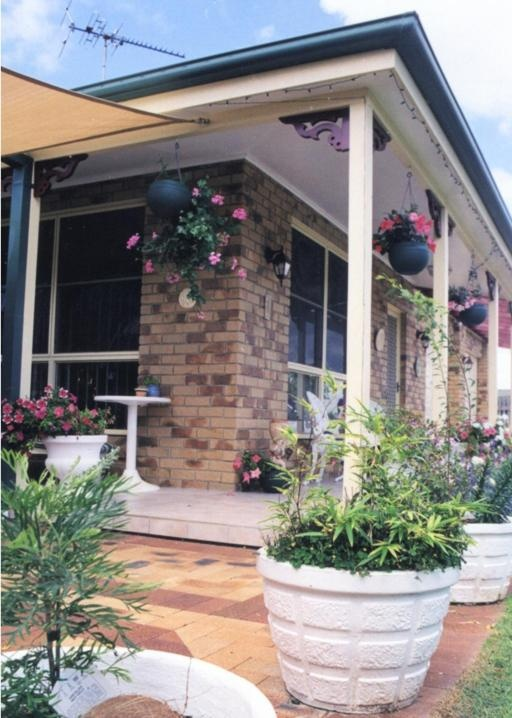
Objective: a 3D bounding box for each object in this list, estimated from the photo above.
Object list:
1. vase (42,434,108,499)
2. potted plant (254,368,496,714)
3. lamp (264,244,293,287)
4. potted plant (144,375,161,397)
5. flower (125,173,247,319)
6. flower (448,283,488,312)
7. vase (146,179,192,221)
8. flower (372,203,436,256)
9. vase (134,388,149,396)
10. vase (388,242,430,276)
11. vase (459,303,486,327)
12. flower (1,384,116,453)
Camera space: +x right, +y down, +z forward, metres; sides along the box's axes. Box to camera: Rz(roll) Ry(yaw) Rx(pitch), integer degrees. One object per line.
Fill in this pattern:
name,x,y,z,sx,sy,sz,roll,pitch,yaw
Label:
vase,-1.210,0.652,4.911,0.438,0.314,0.421,1,-26,1
potted plant,0.308,0.560,1.896,0.543,0.730,0.393,3,-3,-22
lamp,0.213,-0.819,6.057,0.174,0.317,0.476,2,-2,15
potted plant,-0.820,0.211,5.633,0.149,0.152,0.144,-1,-6,-2
flower,-0.567,-0.928,5.254,0.958,1.030,0.985,2,-2,13
flower,2.369,-0.686,7.866,0.382,0.403,1.188,2,-2,16
vase,-0.610,-1.113,4.912,0.272,0.192,0.265,1,1,-6
flower,1.049,-0.879,4.933,0.400,0.304,0.391,1,-3,4
vase,-0.912,0.269,5.545,0.073,0.047,0.072,-4,-11,25
vase,1.082,-0.707,4.874,0.312,0.221,0.266,3,-2,-7
vase,2.482,-0.507,8.037,0.285,0.204,0.290,1,-9,-3
flower,-1.324,0.419,4.822,0.751,0.490,0.660,2,-6,5
